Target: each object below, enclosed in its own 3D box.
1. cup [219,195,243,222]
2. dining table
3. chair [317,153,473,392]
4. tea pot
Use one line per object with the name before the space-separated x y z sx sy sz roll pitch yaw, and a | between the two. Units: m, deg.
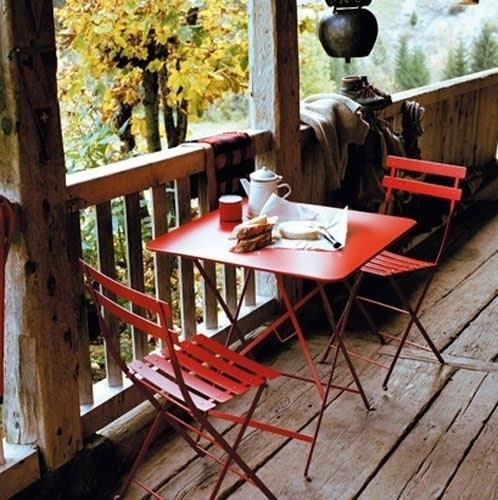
cup | -0.077 -0.168 2.307 0.083 0.093 0.099 1 20 4
dining table | 0.157 0.409 2.497 1.038 1.130 1.178 14 24 38
chair | 0.680 0.095 2.752 0.504 1.090 0.610 9 11 16
tea pot | 0.063 -0.238 2.348 0.175 0.261 0.186 3 19 -1
